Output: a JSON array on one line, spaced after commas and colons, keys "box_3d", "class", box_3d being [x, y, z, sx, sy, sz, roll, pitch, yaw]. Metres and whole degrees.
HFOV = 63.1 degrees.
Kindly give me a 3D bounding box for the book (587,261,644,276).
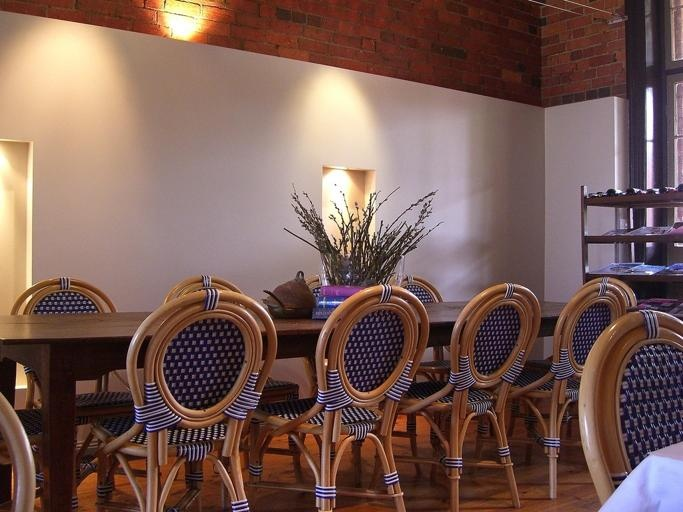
[{"box_3d": [2.391, 0.111, 4.851, 0.242, 0.035, 0.221, -11, 6, 9], "class": "book"}]
